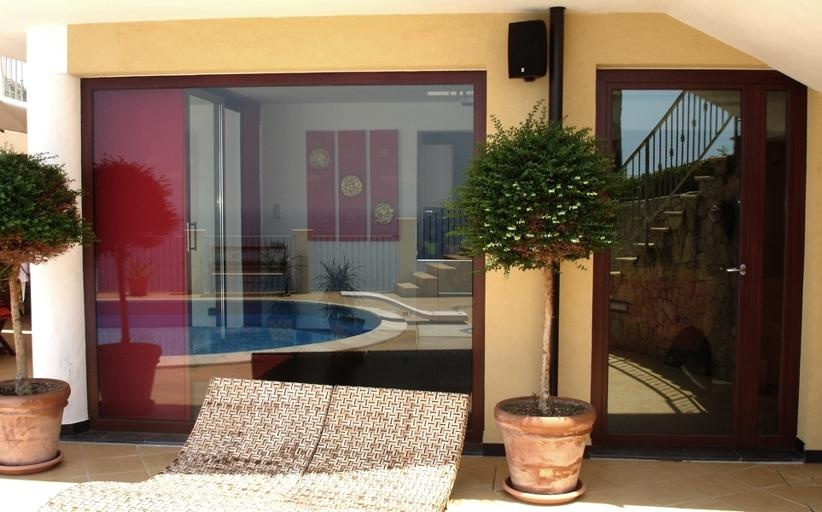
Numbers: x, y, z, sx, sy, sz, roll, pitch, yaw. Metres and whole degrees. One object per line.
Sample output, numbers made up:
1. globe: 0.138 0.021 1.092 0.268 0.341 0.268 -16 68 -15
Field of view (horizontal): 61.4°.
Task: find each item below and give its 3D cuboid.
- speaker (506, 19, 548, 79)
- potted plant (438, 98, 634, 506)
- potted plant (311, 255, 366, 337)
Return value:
1. speaker: 1.127 -1.983 6.785 0.431 0.581 0.341 1 3 9
2. potted plant: 1.137 0.474 6.139 1.370 3.359 0.599 1 5 13
3. potted plant: -0.756 0.365 7.192 0.379 0.624 0.329 -6 -1 17
